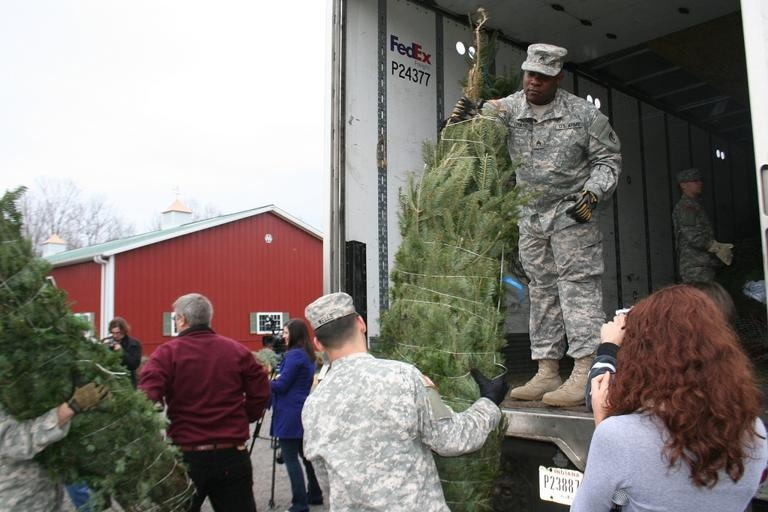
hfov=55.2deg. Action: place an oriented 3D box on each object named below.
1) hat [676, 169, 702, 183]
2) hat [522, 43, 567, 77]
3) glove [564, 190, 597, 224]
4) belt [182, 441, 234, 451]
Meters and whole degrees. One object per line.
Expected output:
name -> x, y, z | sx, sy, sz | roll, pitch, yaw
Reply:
hat -> 3.086, -0.811, 7.438 | 0.174, 0.129, 0.219 | -5, -4, -21
hat -> 1.005, -1.263, 4.623 | 0.291, 0.118, 0.382 | 9, 37, 12
glove -> 1.184, -0.307, 4.523 | 0.170, 0.228, 0.114 | -14, -41, -15
belt -> -1.073, 1.184, 4.540 | 0.314, 0.050, 0.029 | -2, -2, -20
